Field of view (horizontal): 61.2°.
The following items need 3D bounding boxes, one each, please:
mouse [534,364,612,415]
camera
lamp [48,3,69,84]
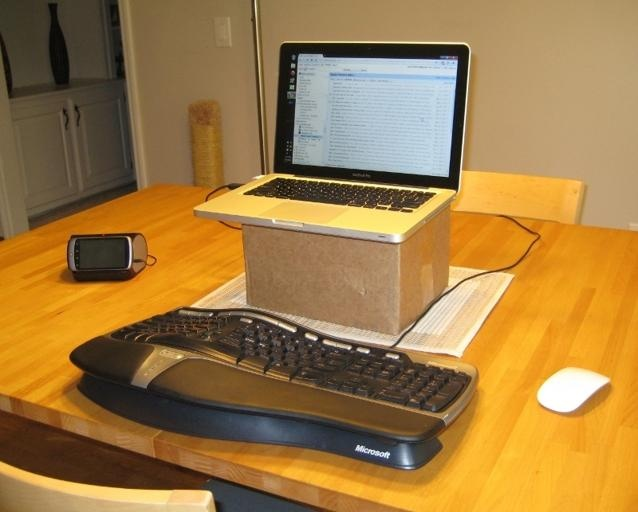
[{"bbox_3d":[0.366,0.189,0.779,0.113,0.036,0.060,-14,26,-38],"label":"mouse"},{"bbox_3d":[-0.453,-0.004,1.187,0.196,0.090,0.041,-1,-3,9],"label":"camera"},{"bbox_3d":[-2.028,-1.638,4.174,0.123,0.598,0.264,-8,25,-23],"label":"lamp"}]
